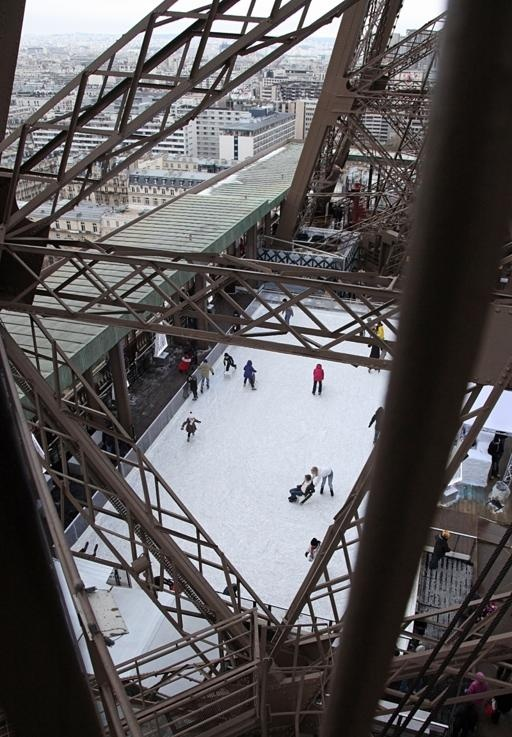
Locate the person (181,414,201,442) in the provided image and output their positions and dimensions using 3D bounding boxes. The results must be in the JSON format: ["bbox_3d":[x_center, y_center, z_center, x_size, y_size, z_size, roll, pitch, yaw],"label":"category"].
[{"bbox_3d":[-1.663,1.539,15.513,0.627,0.893,0.350,0,9,-5],"label":"person"}]
